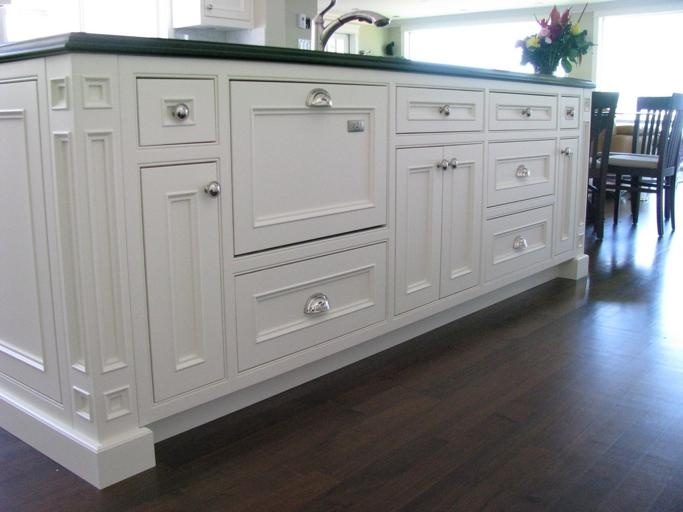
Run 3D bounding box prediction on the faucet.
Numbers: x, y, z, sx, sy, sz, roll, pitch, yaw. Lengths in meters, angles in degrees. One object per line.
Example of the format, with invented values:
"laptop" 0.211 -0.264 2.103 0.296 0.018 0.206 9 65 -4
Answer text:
"faucet" 0.039 -0.881 1.884 0.270 0.211 0.299 1 15 4
